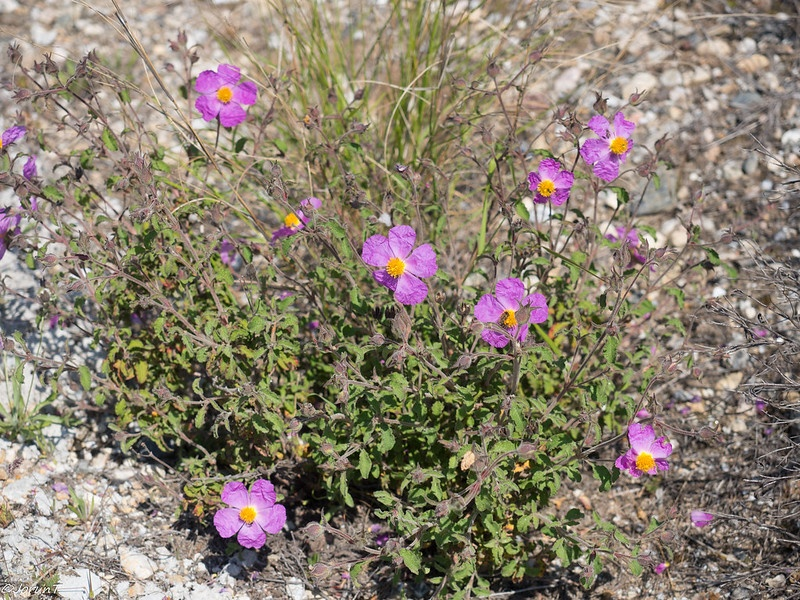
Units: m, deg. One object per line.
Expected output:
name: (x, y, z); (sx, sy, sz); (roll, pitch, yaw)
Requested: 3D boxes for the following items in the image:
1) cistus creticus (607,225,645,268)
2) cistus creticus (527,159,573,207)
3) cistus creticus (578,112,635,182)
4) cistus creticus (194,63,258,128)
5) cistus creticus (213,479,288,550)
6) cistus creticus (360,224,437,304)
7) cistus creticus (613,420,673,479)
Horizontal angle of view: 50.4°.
cistus creticus: (1.458, -0.352, 5.536); (0.088, 0.267, 0.325); (-29, 113, -35)
cistus creticus: (0.831, -0.690, 4.858); (0.236, 0.253, 0.111); (1, 87, -31)
cistus creticus: (1.173, -0.886, 4.878); (0.271, 0.233, 0.352); (27, 74, 9)
cistus creticus: (-1.035, -1.202, 4.989); (0.355, 0.239, 0.333); (-2, 72, 0)
cistus creticus: (-0.819, 1.242, 4.892); (0.369, 0.551, 0.354); (6, 71, 3)
cistus creticus: (0.002, -0.205, 4.591); (0.427, 0.254, 0.308); (35, 75, 11)
cistus creticus: (1.318, 0.813, 4.635); (0.291, 0.296, 0.260); (-4, 71, -1)
